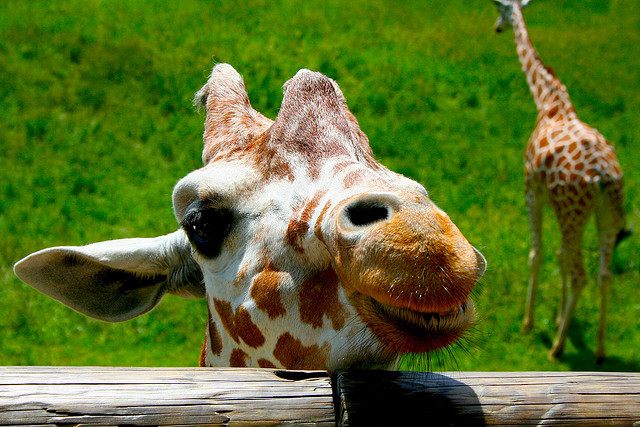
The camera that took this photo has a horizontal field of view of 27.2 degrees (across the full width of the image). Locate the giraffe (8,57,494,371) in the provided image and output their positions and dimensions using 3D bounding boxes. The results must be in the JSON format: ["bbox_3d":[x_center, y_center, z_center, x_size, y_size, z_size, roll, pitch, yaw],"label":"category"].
[{"bbox_3d":[-0.350,0.384,15.500,5.020,3.670,4.592,-9,91,-35],"label":"giraffe"}]
